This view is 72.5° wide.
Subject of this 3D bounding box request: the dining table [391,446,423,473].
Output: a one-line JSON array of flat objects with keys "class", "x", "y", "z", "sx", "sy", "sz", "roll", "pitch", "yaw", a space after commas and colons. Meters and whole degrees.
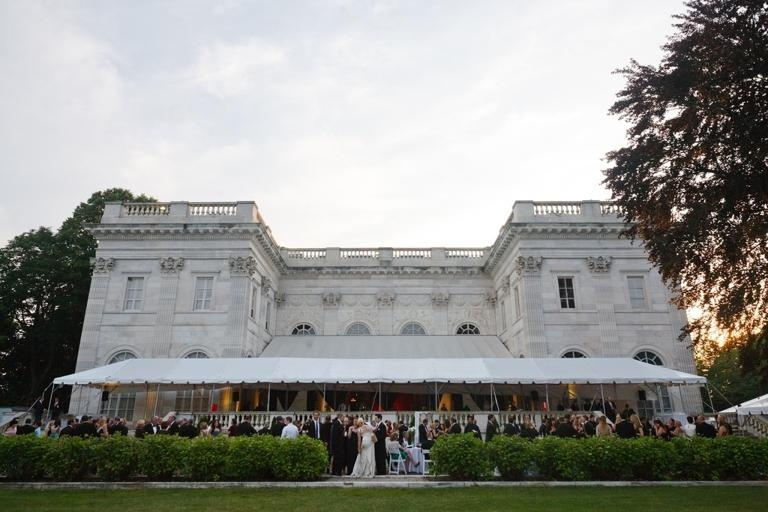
[{"class": "dining table", "x": 1.056, "y": 8.605, "z": 22.184, "sx": 1.473, "sy": 1.188, "sz": 0.922, "roll": -2, "pitch": -10, "yaw": -2}]
